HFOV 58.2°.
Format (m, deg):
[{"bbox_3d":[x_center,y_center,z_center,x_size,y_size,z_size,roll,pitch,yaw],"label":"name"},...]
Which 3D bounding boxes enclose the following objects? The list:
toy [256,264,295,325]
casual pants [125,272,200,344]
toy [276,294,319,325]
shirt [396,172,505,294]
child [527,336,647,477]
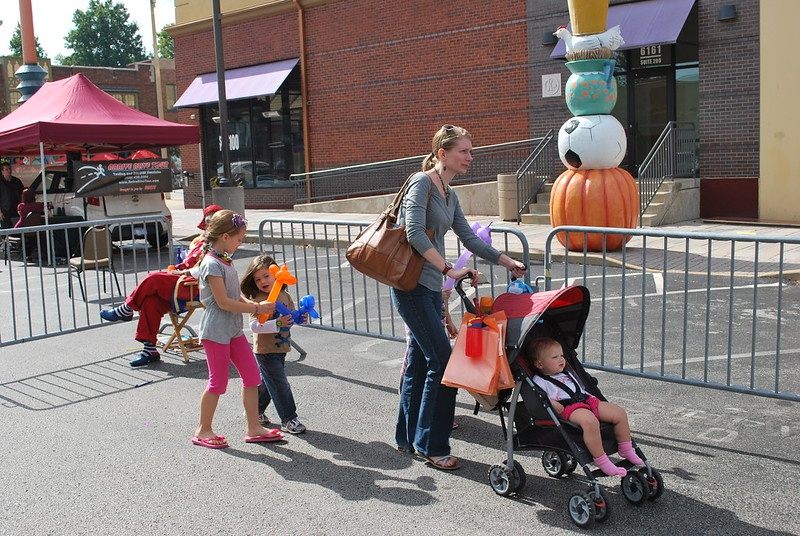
[{"bbox_3d":[-1.120,0.251,6.577,0.344,0.529,0.210,32,13,28],"label":"toy"},{"bbox_3d":[-2.691,0.464,8.702,1.015,0.928,0.586,8,2,-17],"label":"casual pants"},{"bbox_3d":[-0.947,0.376,6.716,0.305,0.159,0.294,-6,-18,11],"label":"toy"},{"bbox_3d":[0.354,-0.335,6.335,1.002,1.116,0.863,3,3,14],"label":"shirt"},{"bbox_3d":[1.448,1.059,5.656,0.457,0.798,1.071,-11,16,-34],"label":"child"}]
